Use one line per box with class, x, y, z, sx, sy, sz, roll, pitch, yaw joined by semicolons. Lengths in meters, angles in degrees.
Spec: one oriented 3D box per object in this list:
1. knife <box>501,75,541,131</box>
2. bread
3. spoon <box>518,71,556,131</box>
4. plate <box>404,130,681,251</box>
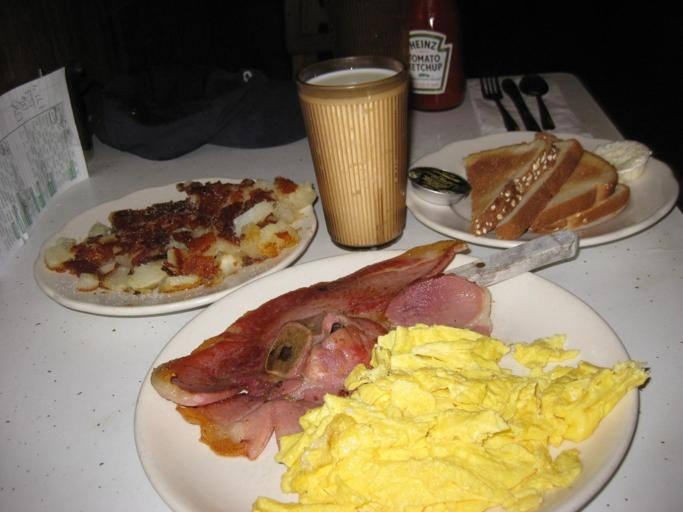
knife;0.588;-0.501;1.823;0.043;0.029;0.283;-32;39;21
bread;0.521;-0.119;1.401;0.310;0.087;0.324;-11;35;34
spoon;0.741;-0.584;2.065;0.109;0.360;0.053;10;93;30
plate;0.498;-0.125;1.256;0.443;0.061;0.440;-12;30;1
